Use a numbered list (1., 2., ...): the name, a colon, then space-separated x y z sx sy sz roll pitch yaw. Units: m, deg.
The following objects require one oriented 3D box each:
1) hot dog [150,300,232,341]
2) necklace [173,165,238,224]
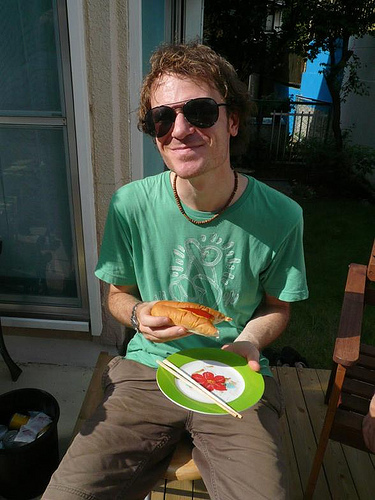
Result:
1. hot dog: 0.010 0.216 1.347 0.241 0.061 0.123 8 8 17
2. necklace: 0.080 -0.232 1.665 0.276 0.202 0.246 -1 19 -6
